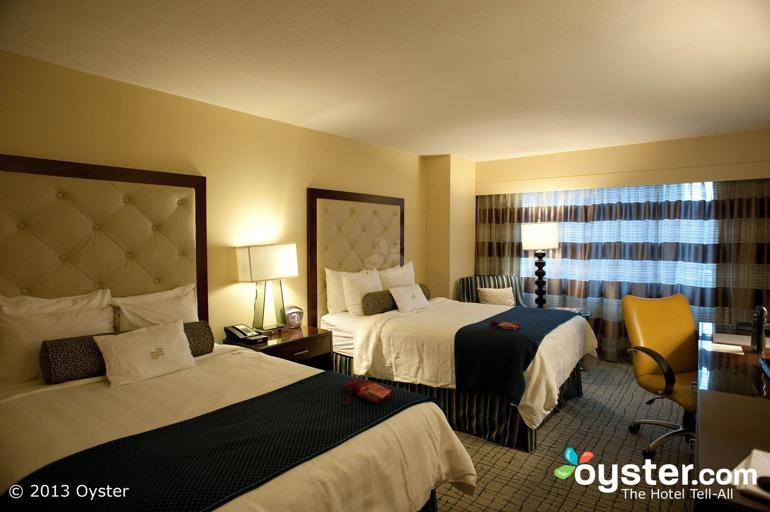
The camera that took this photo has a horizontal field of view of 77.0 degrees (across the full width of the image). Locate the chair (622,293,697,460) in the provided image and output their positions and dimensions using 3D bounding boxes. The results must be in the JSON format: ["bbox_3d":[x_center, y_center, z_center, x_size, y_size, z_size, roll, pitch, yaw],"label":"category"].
[{"bbox_3d":[2.355,0.992,4.192,0.614,1.196,1.086,5,14,28],"label":"chair"}]

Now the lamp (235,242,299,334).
[{"bbox_3d":[-1.157,0.320,4.639,0.295,1.155,0.761,5,9,33],"label":"lamp"}]
